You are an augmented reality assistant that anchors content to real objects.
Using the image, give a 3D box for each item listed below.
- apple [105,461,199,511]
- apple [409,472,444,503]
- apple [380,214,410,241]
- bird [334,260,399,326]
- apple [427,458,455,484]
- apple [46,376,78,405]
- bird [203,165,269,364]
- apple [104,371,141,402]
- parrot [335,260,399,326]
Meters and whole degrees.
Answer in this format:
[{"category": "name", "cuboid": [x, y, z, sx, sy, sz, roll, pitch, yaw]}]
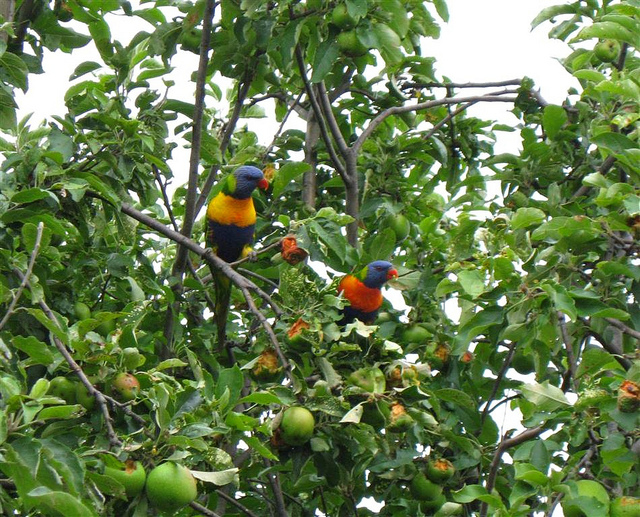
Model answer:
[{"category": "apple", "cuboid": [-0.734, 0.974, 4.298, 0.339, 0.195, 0.167, 9, -7, 9]}, {"category": "apple", "cuboid": [0.570, 1.229, 5.311, 0.158, 0.184, 0.159, 2, -2, 4]}, {"category": "apple", "cuboid": [0.477, -0.203, 6.333, 0.155, 0.156, 0.177, 6, -50, 6]}, {"category": "bird", "cuboid": [0.293, 0.195, 6.078, 0.359, 0.414, 0.514, 2, 0, -31]}, {"category": "apple", "cuboid": [0.641, 1.131, 5.270, 0.125, 0.083, 0.138, -5, -13, 2]}, {"category": "apple", "cuboid": [-1.242, 0.637, 4.773, 0.130, 0.153, 0.134, -4, -6, 13]}, {"category": "bird", "cuboid": [-0.526, 0.029, 6.275, 0.309, 1.222, 0.490, 13, 10, -25]}, {"category": "apple", "cuboid": [-0.941, 0.607, 4.707, 0.159, 0.124, 0.119, 2, -57, 20]}, {"category": "parrot", "cuboid": [0.306, 0.191, 6.070, 0.355, 0.413, 0.506, 2, 0, -30]}]
